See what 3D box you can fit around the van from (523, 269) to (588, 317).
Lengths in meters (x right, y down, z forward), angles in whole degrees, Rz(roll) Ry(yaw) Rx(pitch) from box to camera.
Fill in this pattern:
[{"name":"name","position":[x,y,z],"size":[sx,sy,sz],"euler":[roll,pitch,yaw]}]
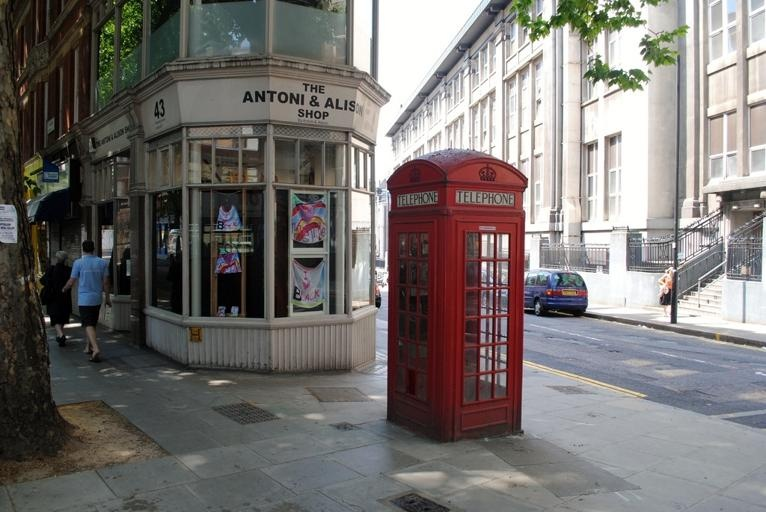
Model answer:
[{"name":"van","position":[6.758,1.384,26.399],"size":[1.762,1.439,3.271],"euler":[0,4,-10]}]

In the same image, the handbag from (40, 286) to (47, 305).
[{"name":"handbag","position":[-7.938,0.904,15.384],"size":[0.109,0.365,0.318],"euler":[-1,7,-31]}]

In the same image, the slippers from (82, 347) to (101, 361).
[{"name":"slippers","position":[-6.194,2.064,14.112],"size":[0.202,0.271,0.668],"euler":[2,2,-41]}]
